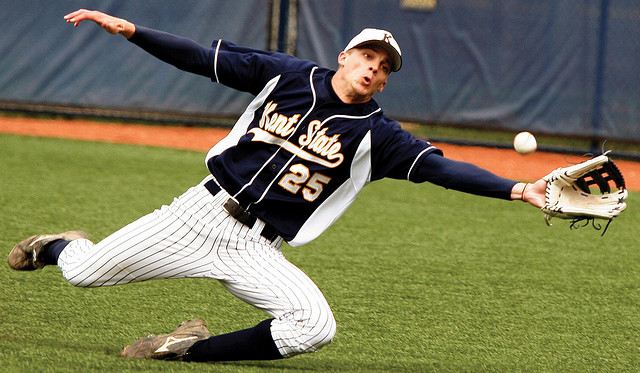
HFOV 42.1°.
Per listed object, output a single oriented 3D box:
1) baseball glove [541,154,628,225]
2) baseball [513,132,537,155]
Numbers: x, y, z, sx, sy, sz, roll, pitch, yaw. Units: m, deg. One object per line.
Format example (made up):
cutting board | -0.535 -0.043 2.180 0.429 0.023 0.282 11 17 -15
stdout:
baseball glove | 1.828 0.019 5.787 0.560 0.533 0.243 17 5 -16
baseball | 1.627 -0.352 6.632 0.168 0.184 0.191 19 5 10
